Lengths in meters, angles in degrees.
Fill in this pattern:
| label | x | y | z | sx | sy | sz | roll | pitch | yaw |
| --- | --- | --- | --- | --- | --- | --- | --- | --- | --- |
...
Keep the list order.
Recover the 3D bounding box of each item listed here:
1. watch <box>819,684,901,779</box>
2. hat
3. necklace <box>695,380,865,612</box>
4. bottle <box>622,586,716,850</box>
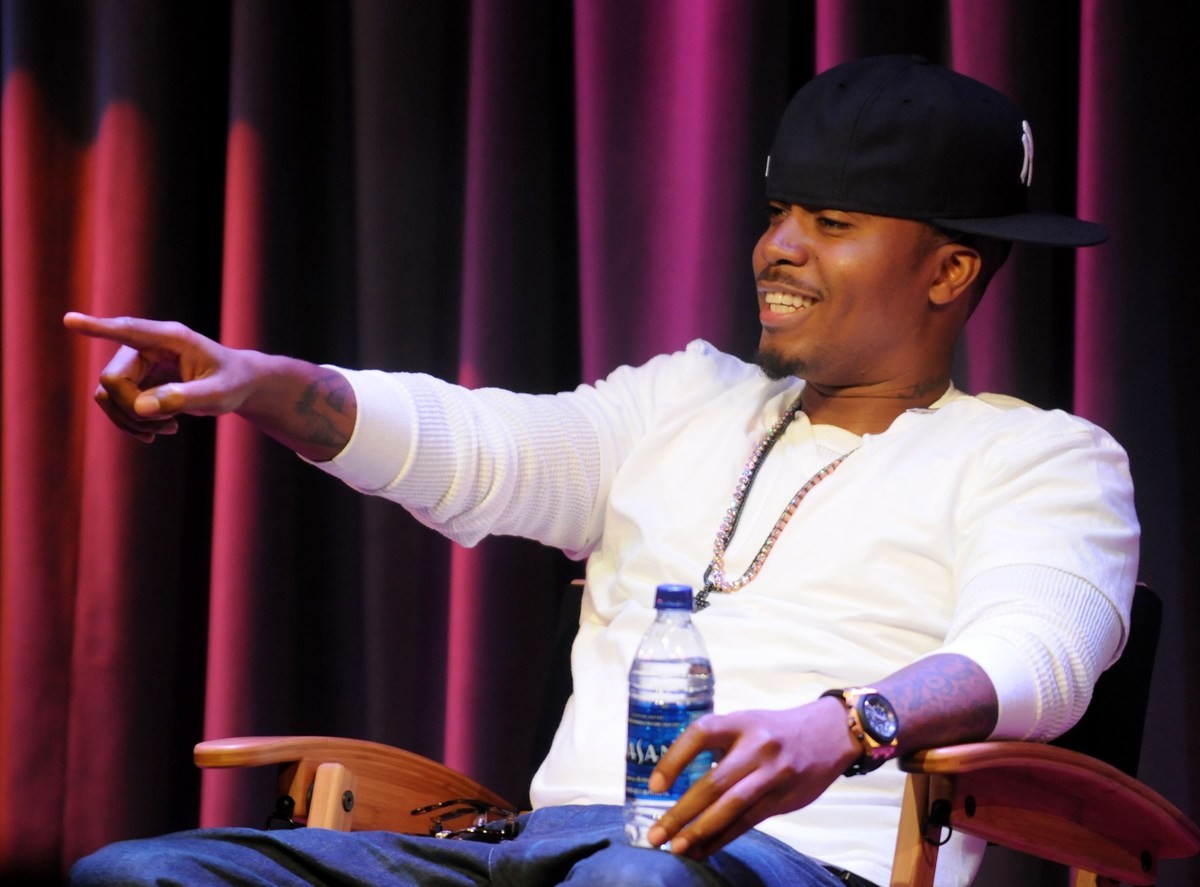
| label | x | y | z | sx | sy | sz | roll | pitch | yaw |
| --- | --- | --- | --- | --- | --- | --- | --- | --- | --- |
| watch | 0.352 | 0.374 | 2.345 | 0.076 | 0.119 | 0.106 | 4 | -28 | -46 |
| hat | 0.520 | -0.405 | 2.745 | 0.411 | 0.227 | 0.306 | 10 | 5 | 8 |
| necklace | 0.275 | 0.101 | 2.803 | 0.134 | 0.398 | 0.033 | 17 | -26 | 35 |
| bottle | 0.091 | 0.360 | 2.385 | 0.117 | 0.351 | 0.215 | 5 | -5 | 0 |
